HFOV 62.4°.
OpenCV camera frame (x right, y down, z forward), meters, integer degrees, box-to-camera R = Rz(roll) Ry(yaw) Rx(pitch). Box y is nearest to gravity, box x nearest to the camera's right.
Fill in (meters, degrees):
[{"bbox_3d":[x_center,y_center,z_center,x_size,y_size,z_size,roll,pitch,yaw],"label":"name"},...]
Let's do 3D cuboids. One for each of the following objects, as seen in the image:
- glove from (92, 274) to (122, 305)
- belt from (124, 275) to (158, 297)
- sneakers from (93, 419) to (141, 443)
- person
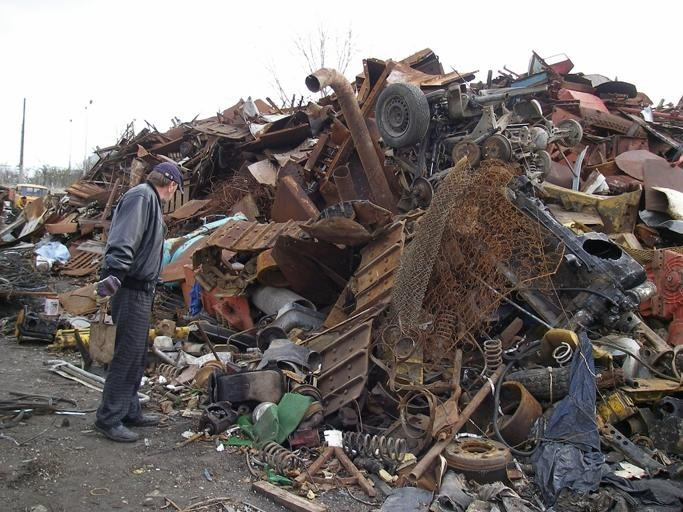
[{"bbox_3d":[-2.116,0.298,5.115,0.181,0.267,0.178,9,11,-6],"label":"glove"},{"bbox_3d":[-1.936,0.284,5.435,0.233,0.067,0.161,17,5,-8],"label":"belt"},{"bbox_3d":[-2.129,1.646,5.374,0.407,0.129,0.182,6,12,3],"label":"sneakers"},{"bbox_3d":[-1.989,0.448,5.482,0.625,2.542,0.919,8,12,-10],"label":"person"}]
